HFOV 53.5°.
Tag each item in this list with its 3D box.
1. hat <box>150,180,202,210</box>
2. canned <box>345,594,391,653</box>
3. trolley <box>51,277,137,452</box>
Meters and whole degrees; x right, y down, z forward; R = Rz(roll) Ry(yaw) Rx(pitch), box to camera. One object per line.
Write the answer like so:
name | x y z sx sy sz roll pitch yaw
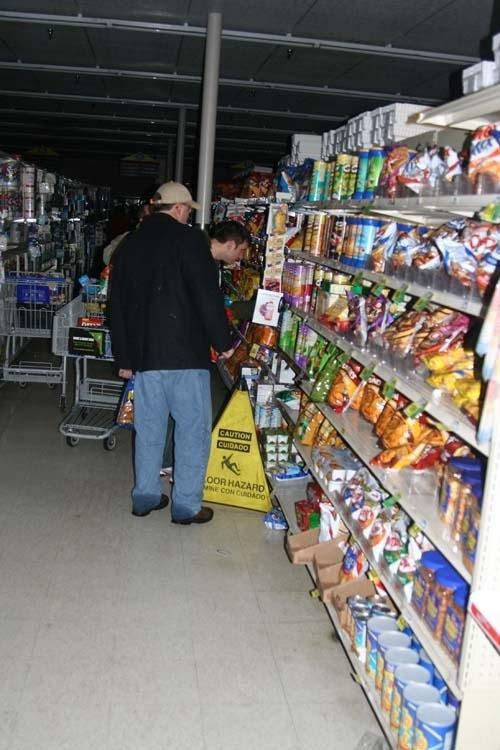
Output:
hat | -0.414 -1.033 2.858 0.215 0.131 0.155 -9 28 -25
canned | 0.412 0.899 1.832 0.151 0.227 0.151 6 24 3
trolley | -1.358 -0.002 4.342 0.549 0.852 0.977 -1 15 -15
